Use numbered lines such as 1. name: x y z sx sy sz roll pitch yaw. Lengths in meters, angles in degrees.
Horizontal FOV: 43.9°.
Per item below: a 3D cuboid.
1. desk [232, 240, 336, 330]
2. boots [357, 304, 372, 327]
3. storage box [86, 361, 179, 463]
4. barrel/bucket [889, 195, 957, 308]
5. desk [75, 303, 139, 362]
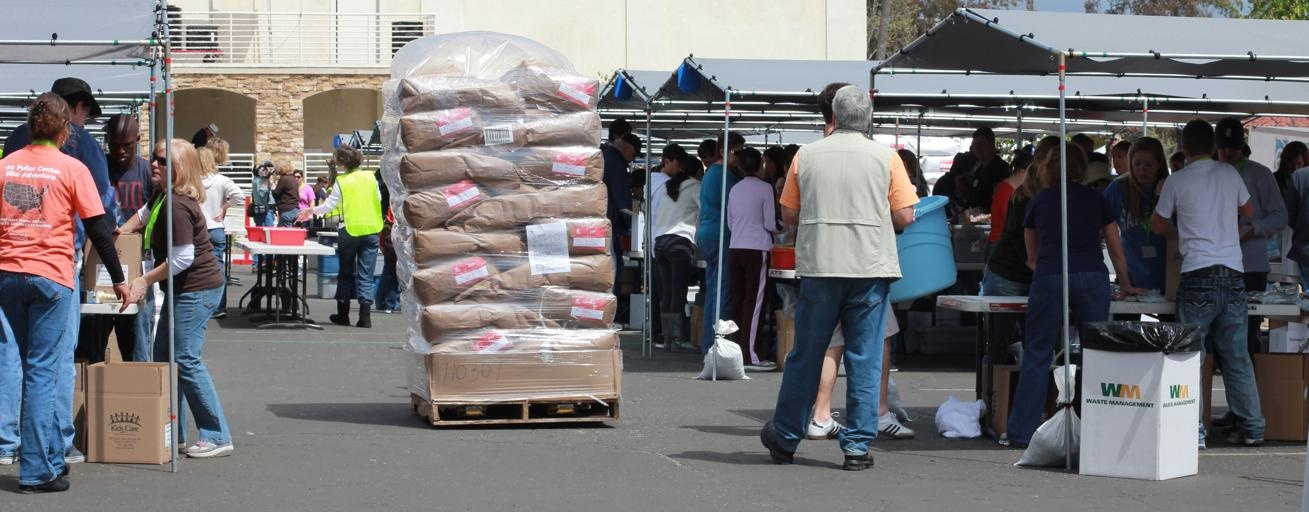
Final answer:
1. desk: -8.400 0.613 35.681 1.515 1.250 3.992 -6 -3 -5
2. boots: -6.223 1.259 35.100 0.313 0.520 0.672 -1 3 -12
3. storage box: -8.867 2.663 27.702 2.159 2.102 1.277 1 4 -2
4. barrel/bucket: 4.595 -0.066 29.079 1.429 1.921 0.986 1 1 -26
5. desk: -9.510 1.435 29.055 1.406 1.071 1.242 0 3 -23
